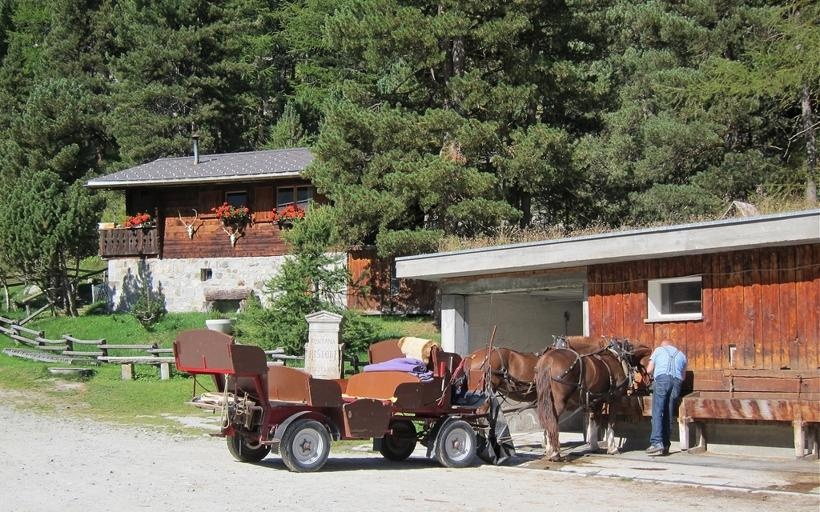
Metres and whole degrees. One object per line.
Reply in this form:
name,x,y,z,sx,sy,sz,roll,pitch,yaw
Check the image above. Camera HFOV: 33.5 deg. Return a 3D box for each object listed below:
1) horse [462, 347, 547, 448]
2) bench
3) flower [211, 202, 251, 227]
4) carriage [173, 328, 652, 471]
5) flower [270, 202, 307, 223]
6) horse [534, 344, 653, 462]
horse,4.427,4.787,53.685,4.720,3.549,1.367,7,-3,-3
bench,-3.683,4.300,50.302,10.034,2.981,1.545,1,-5,-12
flower,-9.460,-2.157,71.835,1.303,0.787,1.267,-1,4,-44
carriage,0.822,6.128,53.425,16.962,5.405,4.728,1,-16,-28
flower,-6.508,-2.279,71.118,1.481,0.881,1.217,4,-3,-35
horse,7.414,5.488,52.963,5.047,5.040,1.977,4,-5,-25
